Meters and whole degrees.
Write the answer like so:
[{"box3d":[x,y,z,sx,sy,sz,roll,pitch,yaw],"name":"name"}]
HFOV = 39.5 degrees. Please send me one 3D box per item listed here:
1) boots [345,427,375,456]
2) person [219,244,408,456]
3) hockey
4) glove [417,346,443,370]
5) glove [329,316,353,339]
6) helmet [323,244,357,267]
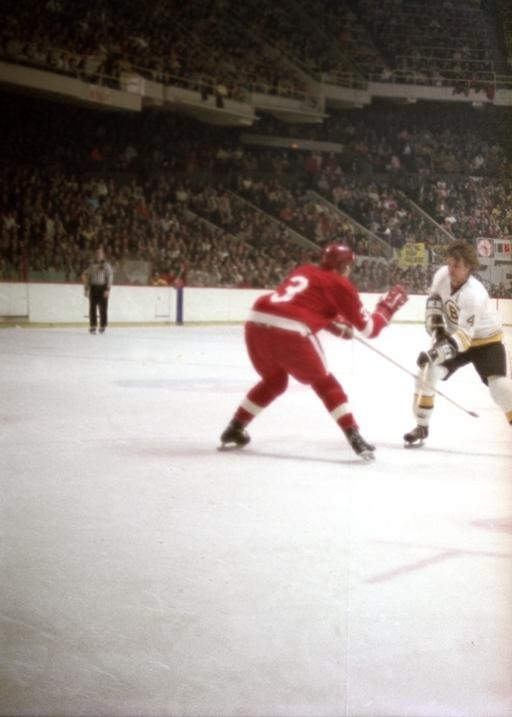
[{"box3d":[0.461,0.389,3.276,0.087,0.155,0.066,-32,-16,-28],"name":"boots"},{"box3d":[0.216,-0.156,3.796,0.864,1.384,0.920,-5,17,-31],"name":"person"},{"box3d":[1.227,0.154,5.711,1.265,0.066,0.062,40,-25,-10],"name":"hockey"},{"box3d":[0.833,0.001,3.436,0.052,0.074,0.115,45,31,17],"name":"glove"},{"box3d":[0.413,-0.150,3.606,0.126,0.047,0.091,32,4,-22],"name":"glove"},{"box3d":[0.380,-0.464,3.362,0.119,0.107,0.096,-3,23,11],"name":"helmet"}]
